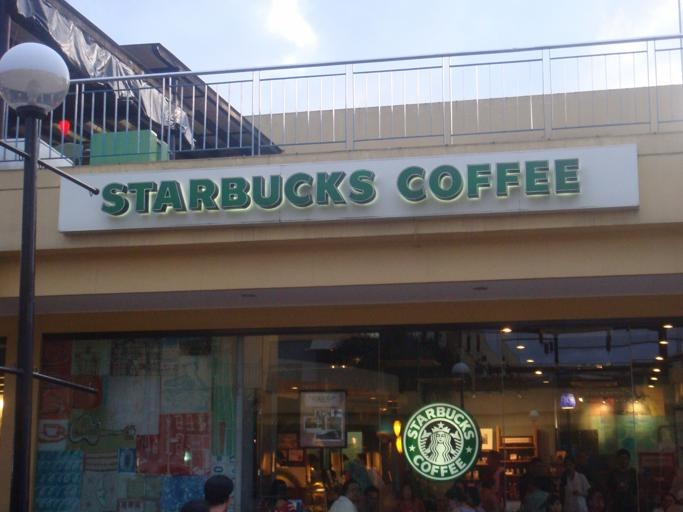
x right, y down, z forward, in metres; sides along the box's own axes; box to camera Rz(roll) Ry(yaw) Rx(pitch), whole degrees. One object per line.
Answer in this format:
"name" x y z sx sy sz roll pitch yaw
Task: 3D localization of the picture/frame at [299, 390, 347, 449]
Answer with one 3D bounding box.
"picture/frame" -0.297 2.642 16.233 0.795 1.035 0.097 1 -37 -4
